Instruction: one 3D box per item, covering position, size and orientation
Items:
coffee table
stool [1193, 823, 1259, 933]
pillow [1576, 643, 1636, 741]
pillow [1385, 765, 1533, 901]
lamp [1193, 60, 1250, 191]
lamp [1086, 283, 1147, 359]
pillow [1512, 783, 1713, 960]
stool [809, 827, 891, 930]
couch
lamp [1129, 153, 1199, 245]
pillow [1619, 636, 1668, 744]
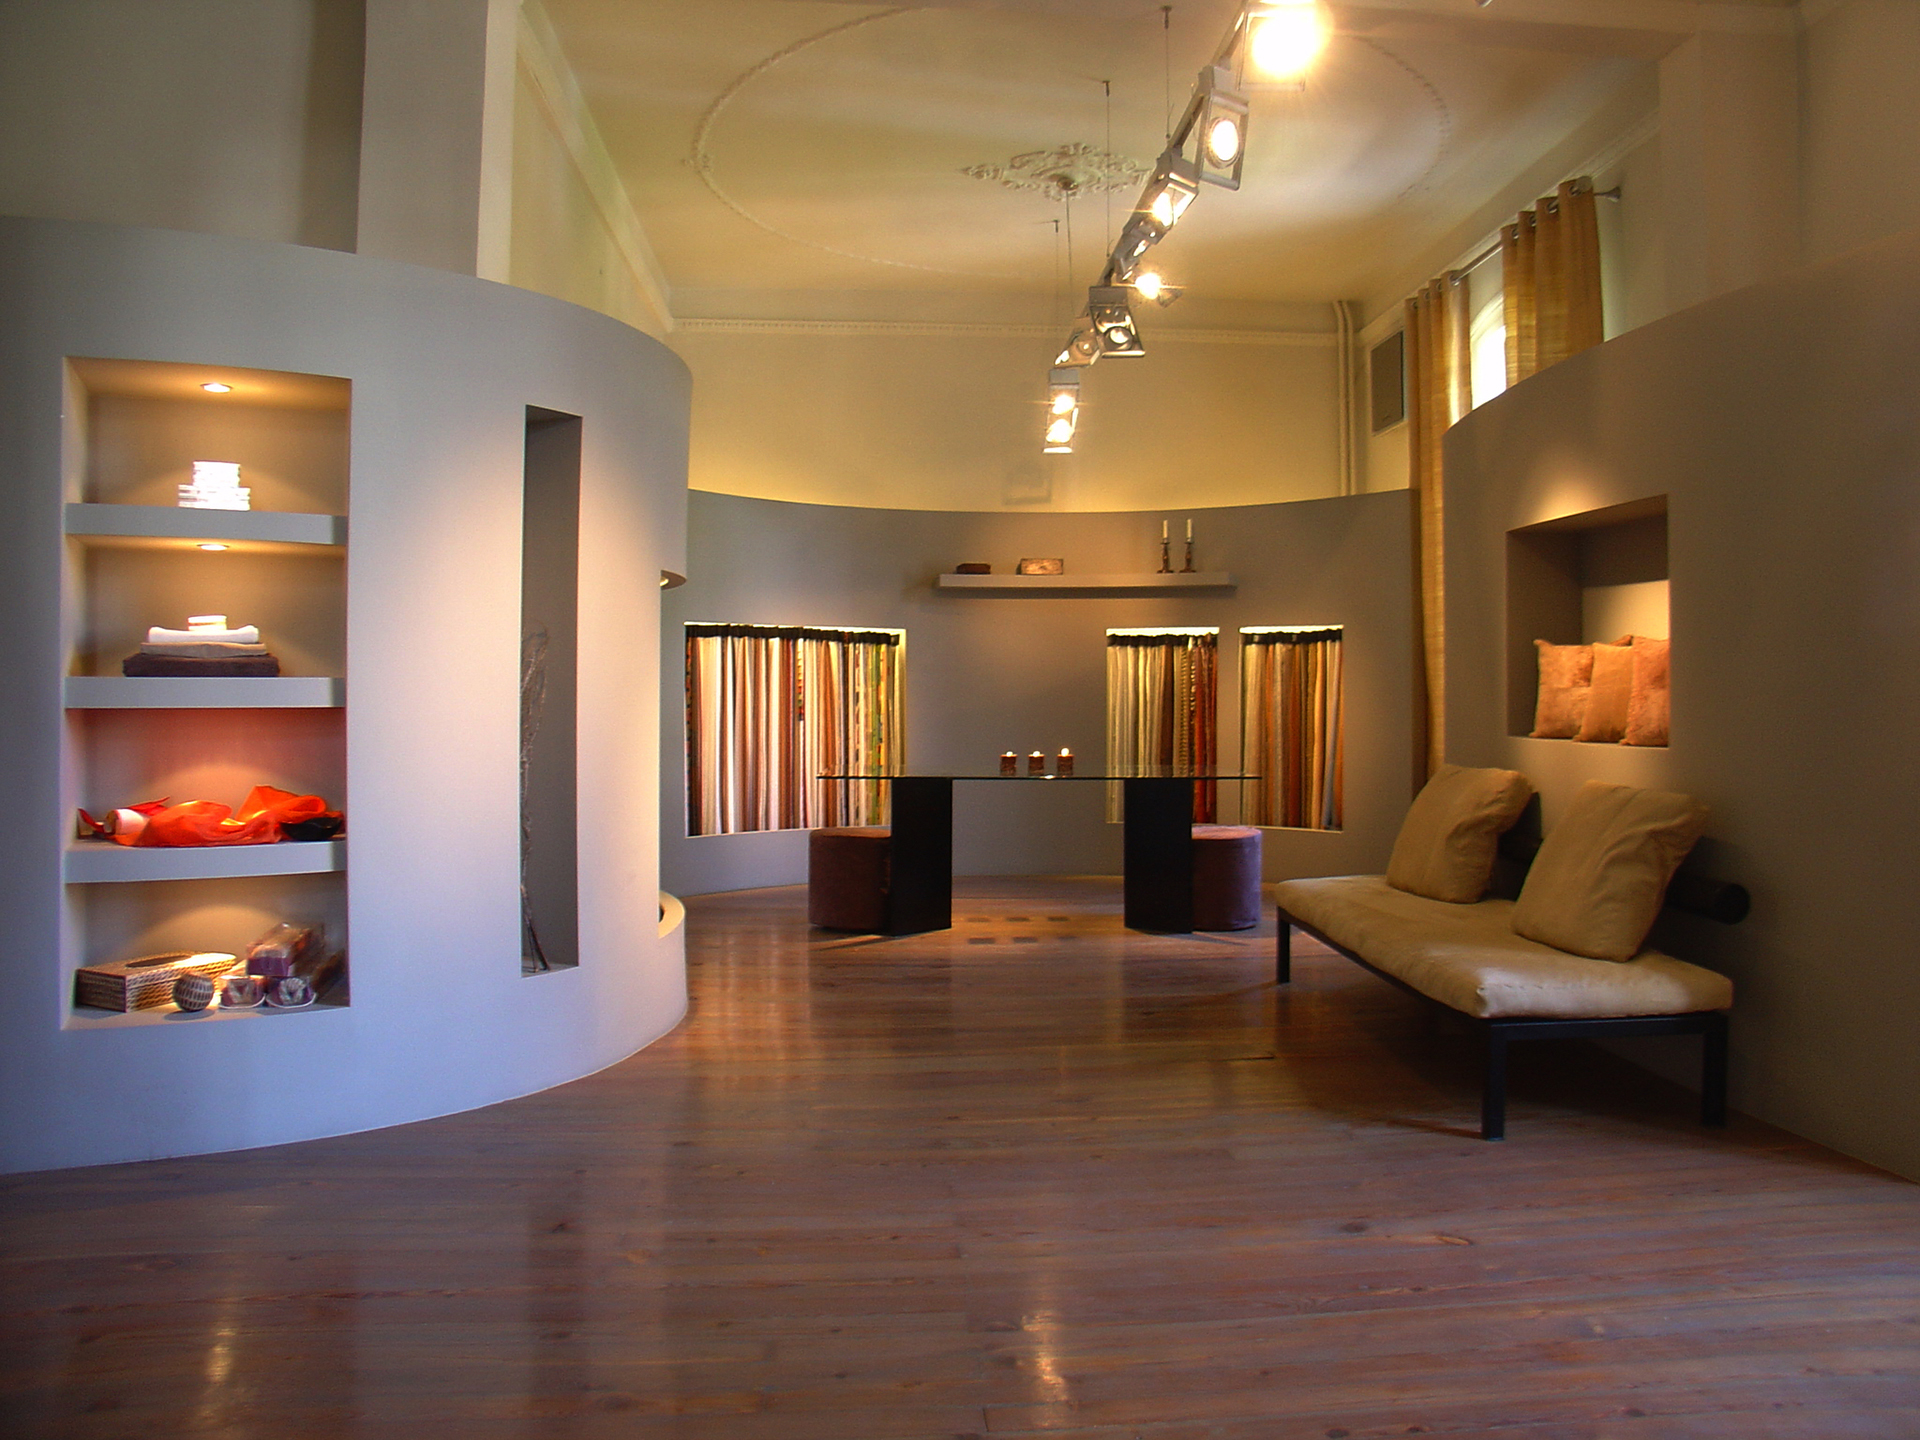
[{"bbox_3d":[0.403,0.793,8.634,2.387,0.938,0.868,-1,-2,4],"label":"coffee table"},{"bbox_3d":[1.517,0.909,8.700,0.458,0.541,0.470,0,7,24],"label":"stool"},{"bbox_3d":[2.741,-0.106,6.368,0.158,0.432,0.392,3,-1,-12],"label":"pillow"},{"bbox_3d":[2.225,0.510,6.757,0.191,0.576,0.592,18,-7,-17],"label":"pillow"},{"bbox_3d":[1.103,-2.522,6.402,0.205,0.471,0.267,1,8,3],"label":"lamp"},{"bbox_3d":[0.816,-2.180,8.133,0.303,0.345,0.264,-2,9,-15],"label":"lamp"},{"bbox_3d":[2.479,0.565,5.800,0.219,0.764,0.796,34,-17,-15],"label":"pillow"},{"bbox_3d":[-0.622,0.919,8.642,0.450,0.518,0.540,1,0,15],"label":"stool"},{"bbox_3d":[2.116,1.069,6.045,1.022,0.613,1.734,-2,9,-15],"label":"couch"},{"bbox_3d":[0.962,-2.440,6.971,0.234,0.159,0.437,1,-20,-13],"label":"lamp"},{"bbox_3d":[2.785,-0.118,6.114,0.333,0.350,0.124,5,-5,-18],"label":"pillow"}]
